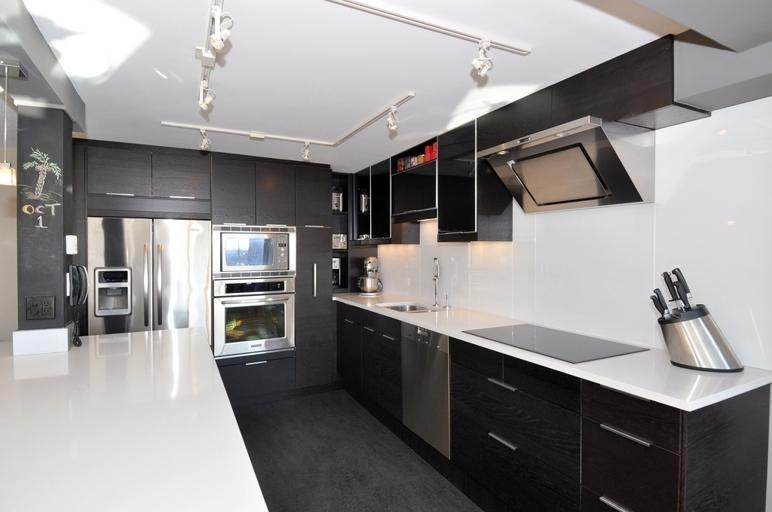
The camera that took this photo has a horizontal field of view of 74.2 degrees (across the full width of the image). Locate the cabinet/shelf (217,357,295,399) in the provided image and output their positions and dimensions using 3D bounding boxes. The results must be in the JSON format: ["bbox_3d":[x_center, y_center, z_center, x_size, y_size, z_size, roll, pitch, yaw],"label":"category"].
[{"bbox_3d":[-1.273,1.207,5.066,0.742,0.375,0.105,-4,11,-26],"label":"cabinet/shelf"}]

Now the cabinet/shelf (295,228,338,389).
[{"bbox_3d":[-0.761,0.527,5.313,0.427,1.637,0.369,-2,10,-16],"label":"cabinet/shelf"}]

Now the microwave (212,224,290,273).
[{"bbox_3d":[-1.326,-0.072,5.062,0.748,0.473,0.425,0,-2,-30],"label":"microwave"}]

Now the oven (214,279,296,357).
[{"bbox_3d":[-1.301,0.642,5.309,0.841,0.781,0.551,-4,-11,-1],"label":"oven"}]

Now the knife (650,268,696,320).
[{"bbox_3d":[1.695,0.209,3.000,0.214,0.300,0.372,6,11,30],"label":"knife"}]

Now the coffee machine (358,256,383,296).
[{"bbox_3d":[-0.172,0.247,5.701,0.280,0.389,0.402,-1,-5,13],"label":"coffee machine"}]

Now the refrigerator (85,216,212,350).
[{"bbox_3d":[-2.155,0.223,4.482,1.222,1.471,0.563,1,-1,-28],"label":"refrigerator"}]
